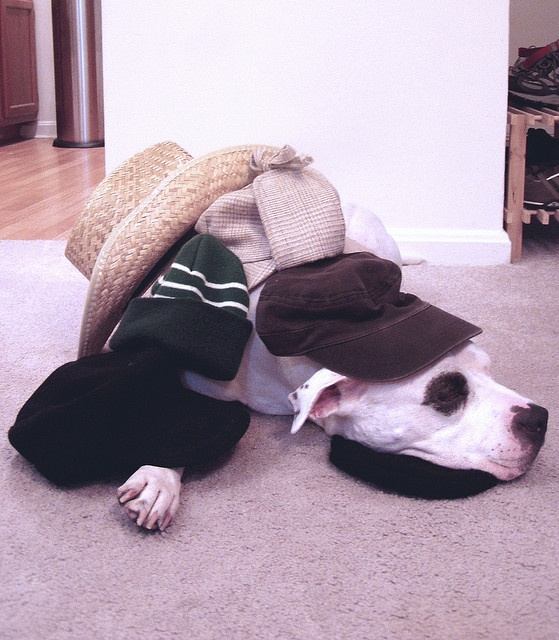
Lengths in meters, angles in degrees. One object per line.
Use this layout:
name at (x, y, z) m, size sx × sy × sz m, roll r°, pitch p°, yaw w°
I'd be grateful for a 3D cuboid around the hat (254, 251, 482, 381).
hat at (0.096, -0.008, 0.882) m, size 0.258 × 0.073 × 0.162 m, roll 8°, pitch 28°, yaw 35°

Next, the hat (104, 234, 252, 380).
hat at (-0.102, -0.022, 0.996) m, size 0.184 × 0.131 × 0.224 m, roll 19°, pitch 25°, yaw -5°

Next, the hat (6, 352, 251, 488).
hat at (-0.183, 0.128, 0.878) m, size 0.300 × 0.077 × 0.161 m, roll -4°, pitch 25°, yaw -2°
